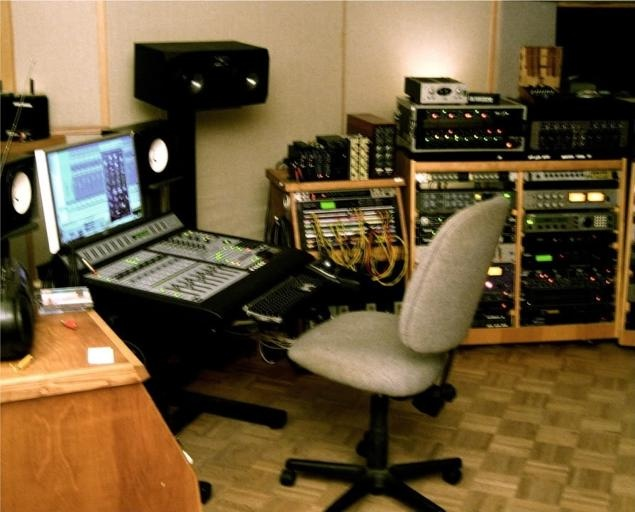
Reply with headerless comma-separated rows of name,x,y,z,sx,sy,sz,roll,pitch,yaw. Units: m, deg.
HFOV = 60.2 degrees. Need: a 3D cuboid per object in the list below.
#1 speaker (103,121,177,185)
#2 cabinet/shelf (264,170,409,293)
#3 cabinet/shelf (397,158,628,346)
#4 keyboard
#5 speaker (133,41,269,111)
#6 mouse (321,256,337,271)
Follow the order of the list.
speaker,-0.805,-0.459,2.485,0.229,0.225,0.381,-5,8,17
cabinet/shelf,0.125,-0.189,3.465,1.066,0.768,0.692,-2,11,-6
cabinet/shelf,1.025,-0.084,2.885,1.419,0.989,0.469,-2,10,-4
keyboard,-0.135,0.165,2.262,0.158,0.032,0.436,22,23,14
speaker,-0.622,-0.977,2.977,0.610,0.379,0.449,-9,18,-30
mouse,0.045,0.036,2.518,0.065,0.022,0.065,34,26,11
